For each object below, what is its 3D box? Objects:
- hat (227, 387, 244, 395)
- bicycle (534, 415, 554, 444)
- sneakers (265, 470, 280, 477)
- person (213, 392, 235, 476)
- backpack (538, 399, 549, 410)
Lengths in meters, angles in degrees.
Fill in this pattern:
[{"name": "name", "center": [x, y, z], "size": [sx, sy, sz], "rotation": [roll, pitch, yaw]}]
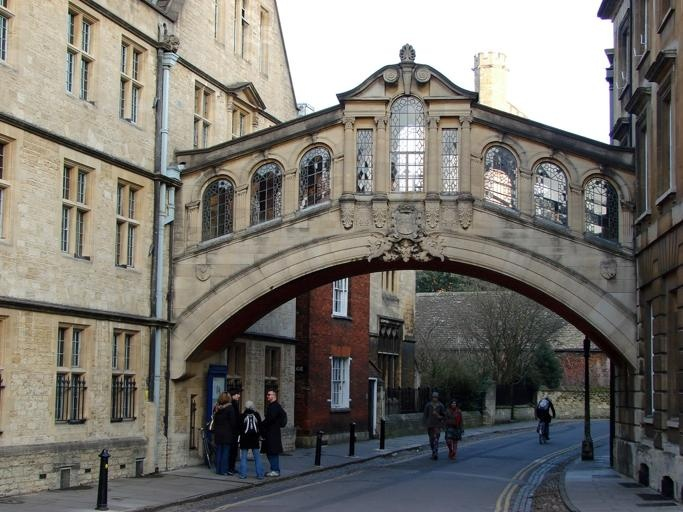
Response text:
[{"name": "hat", "center": [-3.201, 4.003, 31.353], "size": [0.495, 0.353, 0.330], "rotation": [1, -11, -6]}, {"name": "bicycle", "center": [7.719, 6.684, 40.590], "size": [0.653, 0.926, 1.441], "rotation": [1, 0, 17]}, {"name": "sneakers", "center": [-1.834, 5.751, 27.853], "size": [0.286, 0.133, 0.128], "rotation": [2, -4, 8]}, {"name": "person", "center": [-3.145, 4.730, 28.016], "size": [0.568, 2.158, 0.862], "rotation": [0, -9, -8]}, {"name": "backpack", "center": [7.743, 5.702, 40.175], "size": [0.440, 0.359, 0.626], "rotation": [4, 2, 8]}]
